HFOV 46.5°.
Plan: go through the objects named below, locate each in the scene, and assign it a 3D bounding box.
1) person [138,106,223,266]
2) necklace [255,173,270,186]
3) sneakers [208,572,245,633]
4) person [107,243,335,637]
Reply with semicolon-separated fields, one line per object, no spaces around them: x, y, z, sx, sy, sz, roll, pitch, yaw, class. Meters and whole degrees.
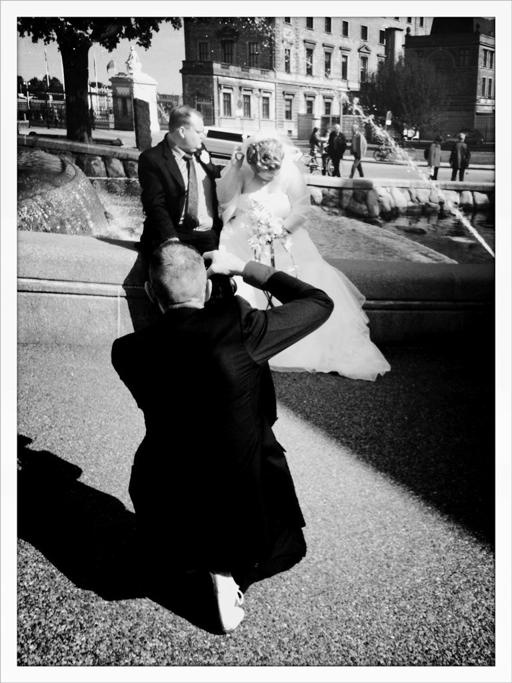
-0.469;-0.991;3.793;0.540;0.950;0.418;-3;15;-14;person
0.047;-1.115;4.051;0.071;0.060;0.081;-5;50;-6;necklace
-0.083;0.871;1.967;0.050;0.163;0.206;12;-17;-3;sneakers
-0.097;0.334;1.763;0.606;1.271;0.443;-4;15;-16;person
